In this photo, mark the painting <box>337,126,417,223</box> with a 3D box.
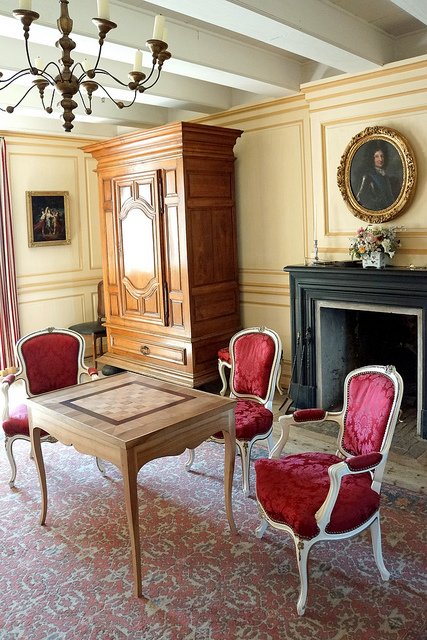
[{"bbox_3d":[1.207,-1.080,3.472,0.086,0.690,0.621,-7,5,-39],"label":"painting"}]

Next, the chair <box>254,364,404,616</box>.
[{"bbox_3d":[0.438,0.604,1.905,0.536,0.796,0.597,-4,8,-19],"label":"chair"}]

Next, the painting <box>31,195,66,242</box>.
[{"bbox_3d":[-2.043,-1.249,5.681,0.045,0.607,0.531,11,18,38],"label":"painting"}]

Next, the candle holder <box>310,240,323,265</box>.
[{"bbox_3d":[0.855,-0.567,3.903,0.098,0.221,0.430,-2,4,12],"label":"candle holder"}]

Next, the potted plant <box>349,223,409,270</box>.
[{"bbox_3d":[1.206,-0.502,3.419,0.372,0.327,0.359,-4,6,-37],"label":"potted plant"}]

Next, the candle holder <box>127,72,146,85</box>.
[{"bbox_3d":[-0.337,-1.066,2.054,0.072,0.050,0.070,-7,12,-40],"label":"candle holder"}]
